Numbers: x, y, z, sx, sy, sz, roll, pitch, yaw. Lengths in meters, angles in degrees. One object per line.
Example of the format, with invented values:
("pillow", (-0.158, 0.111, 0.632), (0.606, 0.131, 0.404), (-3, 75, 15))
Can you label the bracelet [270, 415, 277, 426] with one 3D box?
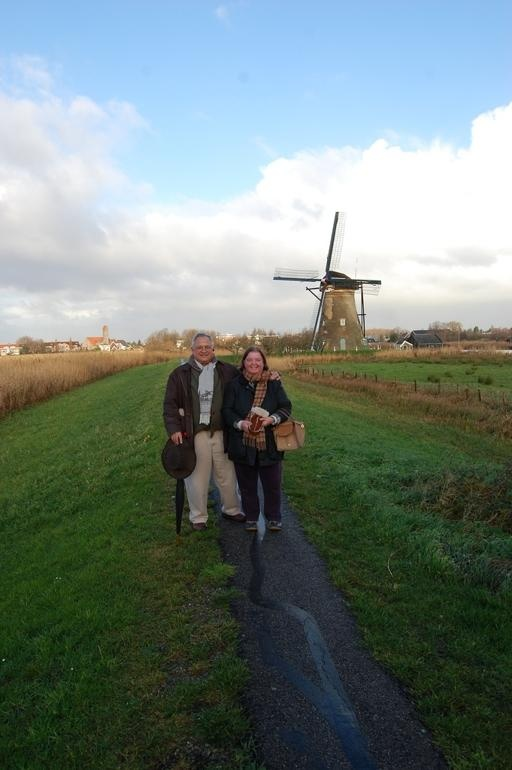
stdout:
("bracelet", (0.215, 0.436, 5.662), (0.077, 0.126, 0.186), (-1, 5, 2))

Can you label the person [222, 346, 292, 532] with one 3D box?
("person", (0.024, 0.706, 5.868), (0.800, 2.311, 0.686), (-1, 5, -5))

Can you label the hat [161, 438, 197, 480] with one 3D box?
("hat", (-0.881, 0.887, 5.700), (0.378, 0.520, 0.278), (-2, 5, -9))

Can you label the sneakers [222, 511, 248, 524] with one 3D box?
("sneakers", (-0.264, 1.763, 6.417), (0.301, 0.153, 0.120), (-4, -3, 22))

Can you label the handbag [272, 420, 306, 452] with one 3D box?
("handbag", (0.397, 0.624, 5.808), (0.331, 0.403, 0.256), (1, 5, 21))
